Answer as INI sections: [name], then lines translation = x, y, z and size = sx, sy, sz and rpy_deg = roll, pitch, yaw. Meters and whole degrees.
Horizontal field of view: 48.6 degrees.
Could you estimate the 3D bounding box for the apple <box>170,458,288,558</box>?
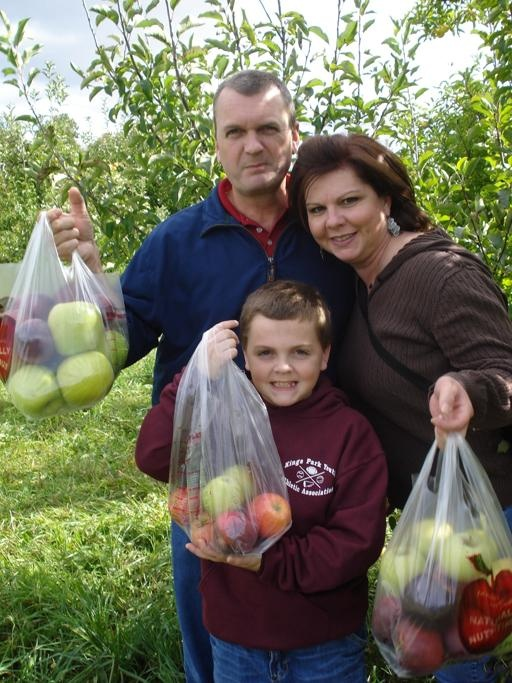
[apple]
translation = -0.058, 0.383, 1.316
size = 0.221, 0.119, 0.181
rpy_deg = -12, 20, -13
